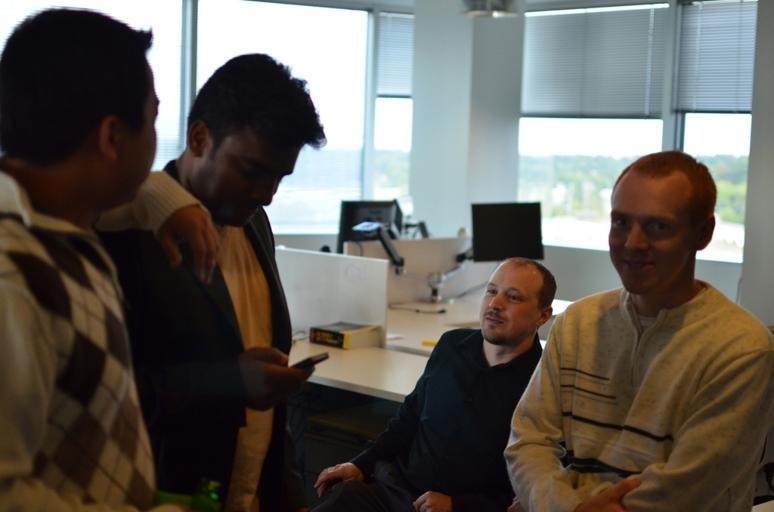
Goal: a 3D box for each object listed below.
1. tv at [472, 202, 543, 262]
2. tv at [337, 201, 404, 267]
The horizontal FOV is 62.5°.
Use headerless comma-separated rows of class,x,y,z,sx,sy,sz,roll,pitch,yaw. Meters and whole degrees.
tv,0.840,-0.169,4.537,0.413,0.352,0.043,-2,4,-20
tv,-0.120,-0.280,4.746,0.526,0.497,0.276,-2,29,-14
